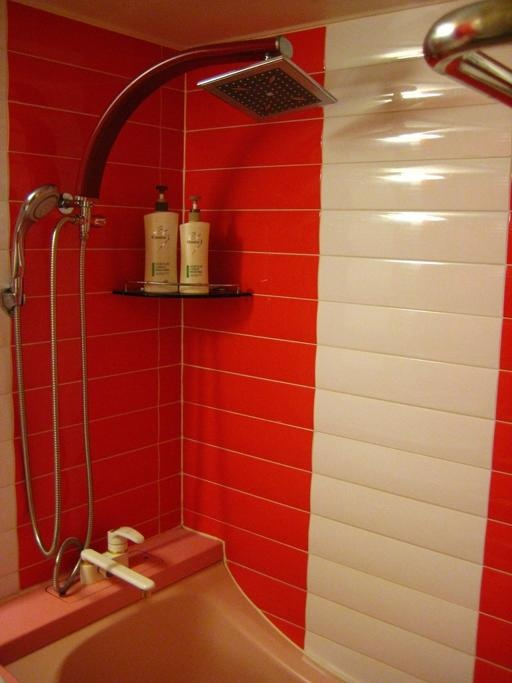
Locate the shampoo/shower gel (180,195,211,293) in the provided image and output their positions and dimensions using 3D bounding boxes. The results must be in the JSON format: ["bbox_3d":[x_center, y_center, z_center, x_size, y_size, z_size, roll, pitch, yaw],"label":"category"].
[{"bbox_3d":[-0.165,-0.253,1.506,0.080,0.252,0.231,0,5,-5],"label":"shampoo/shower gel"}]

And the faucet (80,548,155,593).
[{"bbox_3d":[-0.338,0.564,1.368,0.245,0.055,0.051,4,6,33],"label":"faucet"}]

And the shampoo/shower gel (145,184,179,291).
[{"bbox_3d":[-0.254,-0.272,1.487,0.094,0.285,0.251,-1,5,-11],"label":"shampoo/shower gel"}]
